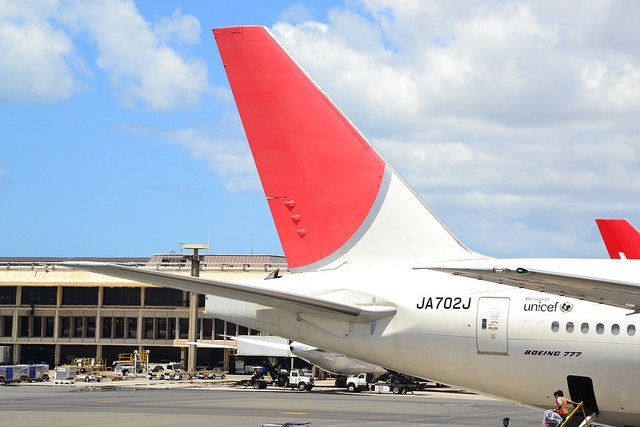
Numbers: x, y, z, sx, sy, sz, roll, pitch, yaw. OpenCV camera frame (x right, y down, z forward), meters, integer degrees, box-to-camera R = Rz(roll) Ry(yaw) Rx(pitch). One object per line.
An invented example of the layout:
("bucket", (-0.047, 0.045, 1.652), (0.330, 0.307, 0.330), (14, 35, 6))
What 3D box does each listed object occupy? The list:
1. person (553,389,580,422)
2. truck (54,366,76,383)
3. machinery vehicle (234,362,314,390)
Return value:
("person", (9.326, 7.353, 27.127), (0.707, 1.186, 0.329), (4, -16, -16))
("truck", (-23.078, 14.785, 64.866), (1.375, 0.955, 2.000), (0, -11, -3))
("machinery vehicle", (-3.796, 14.074, 61.751), (5.993, 1.796, 1.625), (1, 4, 3))
